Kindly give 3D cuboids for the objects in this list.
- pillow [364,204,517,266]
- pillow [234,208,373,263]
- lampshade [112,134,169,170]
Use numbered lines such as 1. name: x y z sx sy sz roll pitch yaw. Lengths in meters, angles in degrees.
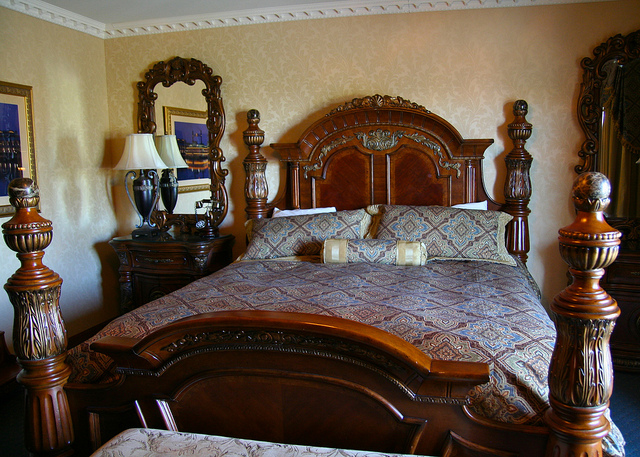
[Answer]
1. pillow: 0.875 0.037 3.629 0.784 0.496 0.143 3 -27 5
2. pillow: -0.214 -0.023 3.952 1.133 0.209 0.688 -3 31 12
3. lampshade: -1.563 -0.640 4.355 0.500 0.365 0.534 -6 1 -25
